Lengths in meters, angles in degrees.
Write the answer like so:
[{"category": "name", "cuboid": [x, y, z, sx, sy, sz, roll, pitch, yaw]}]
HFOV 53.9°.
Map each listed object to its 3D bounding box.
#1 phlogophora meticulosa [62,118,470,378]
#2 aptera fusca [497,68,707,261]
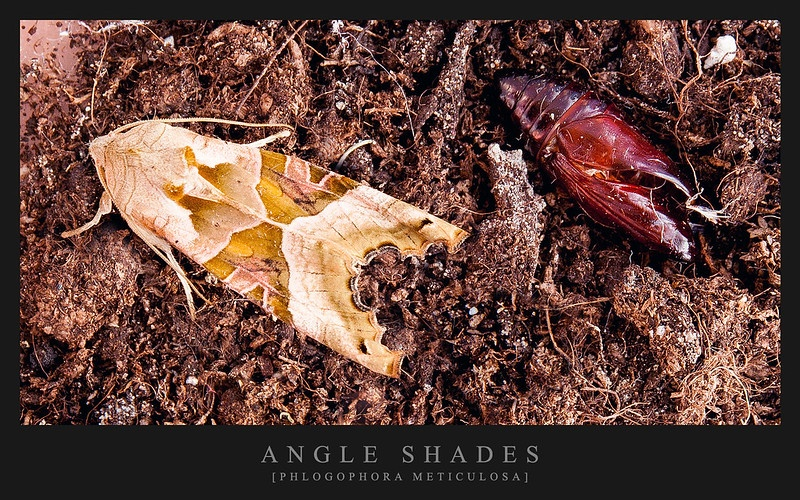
[{"category": "phlogophora meticulosa", "cuboid": [-0.681, -0.127, 3.784, 1.764, 0.495, 1.041, 23, 68, 7]}, {"category": "aptera fusca", "cuboid": [0.955, -0.428, 3.805, 0.493, 0.490, 1.342, -44, 82, -7]}]
